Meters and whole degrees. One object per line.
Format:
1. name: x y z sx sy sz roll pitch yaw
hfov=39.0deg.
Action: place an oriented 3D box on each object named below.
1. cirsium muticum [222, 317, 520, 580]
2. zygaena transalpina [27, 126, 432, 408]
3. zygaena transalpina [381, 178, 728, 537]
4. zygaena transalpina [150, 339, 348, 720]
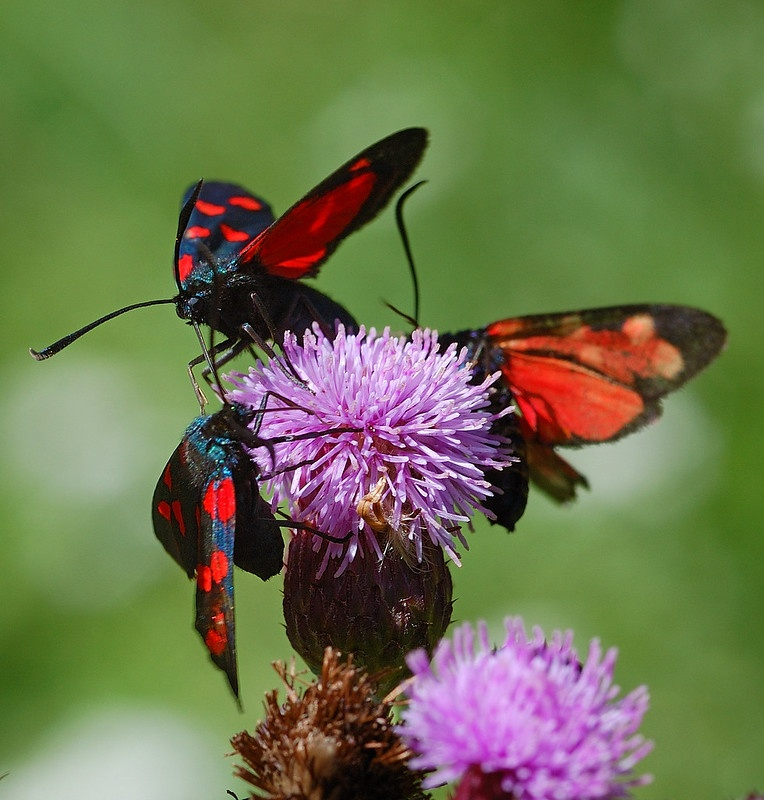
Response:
1. cirsium muticum: -0.022 0.067 2.232 0.520 0.489 0.427 10 -73 3
2. zygaena transalpina: -0.261 -0.304 2.242 0.648 0.361 0.693 -20 -13 -14
3. zygaena transalpina: 0.264 0.045 2.422 0.831 0.405 0.791 18 -59 43
4. zygaena transalpina: -0.299 0.234 1.969 0.183 0.498 0.593 0 1 -19
